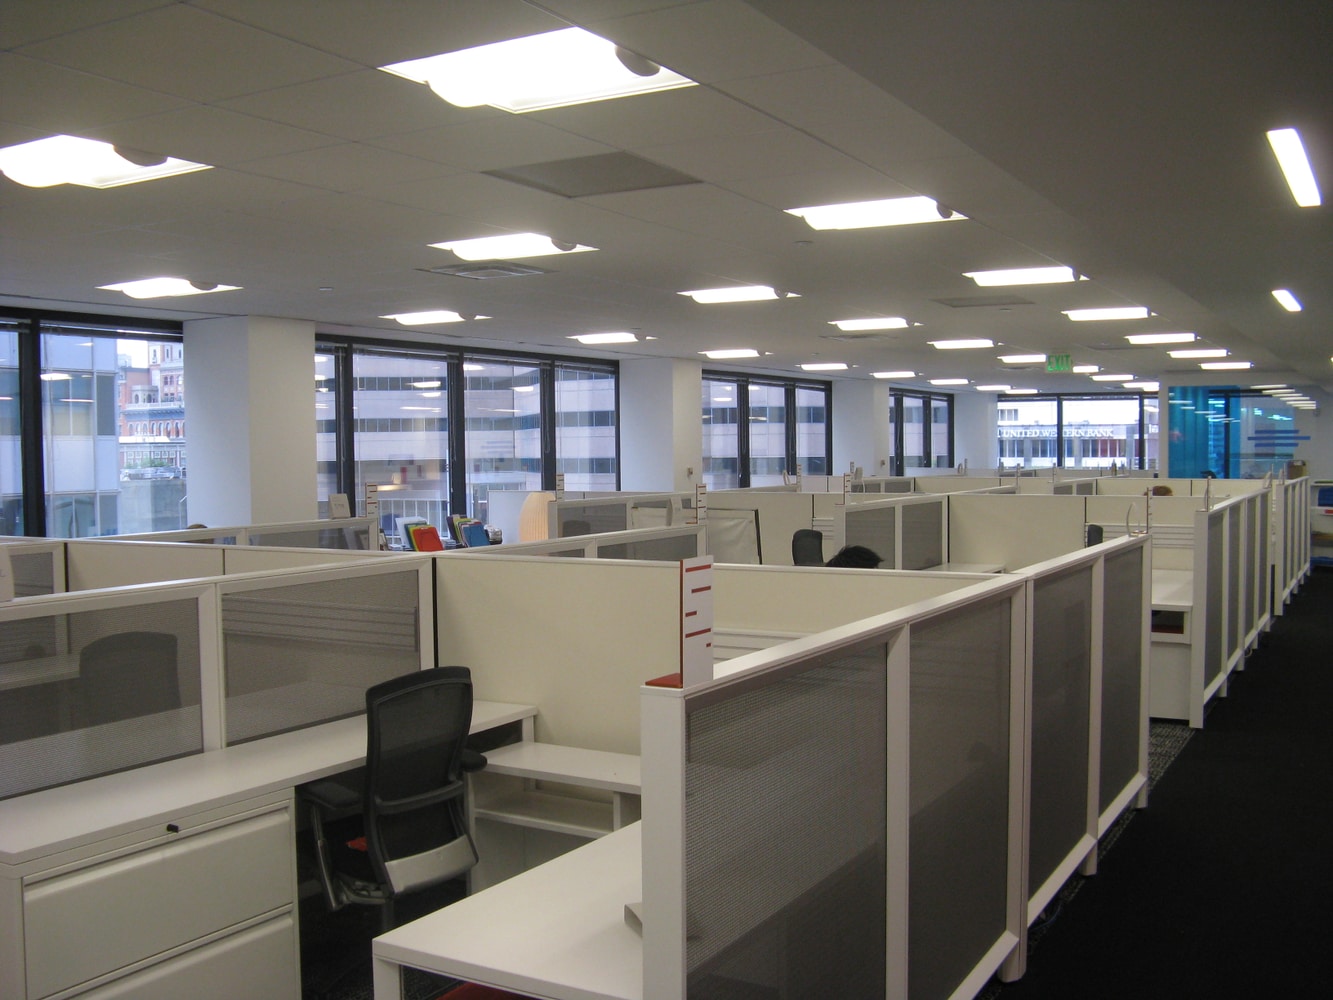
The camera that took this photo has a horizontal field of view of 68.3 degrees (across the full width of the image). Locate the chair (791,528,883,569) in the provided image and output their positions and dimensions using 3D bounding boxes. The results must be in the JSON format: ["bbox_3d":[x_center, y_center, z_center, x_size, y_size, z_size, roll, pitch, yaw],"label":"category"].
[{"bbox_3d":[1.127,0.365,6.968,0.388,0.327,0.296,-3,-2,32],"label":"chair"}]
